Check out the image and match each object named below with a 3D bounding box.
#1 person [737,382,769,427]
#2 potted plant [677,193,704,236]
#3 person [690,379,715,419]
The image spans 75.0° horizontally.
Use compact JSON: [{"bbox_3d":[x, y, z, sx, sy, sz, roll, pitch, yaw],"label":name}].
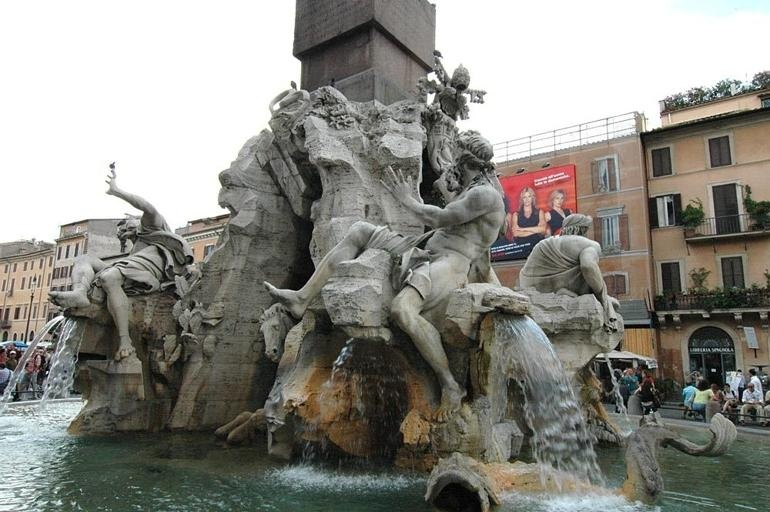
[{"bbox_3d":[10.491,4.242,14.337,0.745,1.256,0.788,-20,-60,41],"label":"person"},{"bbox_3d":[18.426,-2.420,30.101,1.272,2.391,0.711,-4,-15,15],"label":"potted plant"},{"bbox_3d":[9.429,4.226,14.937,0.618,1.091,1.087,-9,-17,31],"label":"person"}]
